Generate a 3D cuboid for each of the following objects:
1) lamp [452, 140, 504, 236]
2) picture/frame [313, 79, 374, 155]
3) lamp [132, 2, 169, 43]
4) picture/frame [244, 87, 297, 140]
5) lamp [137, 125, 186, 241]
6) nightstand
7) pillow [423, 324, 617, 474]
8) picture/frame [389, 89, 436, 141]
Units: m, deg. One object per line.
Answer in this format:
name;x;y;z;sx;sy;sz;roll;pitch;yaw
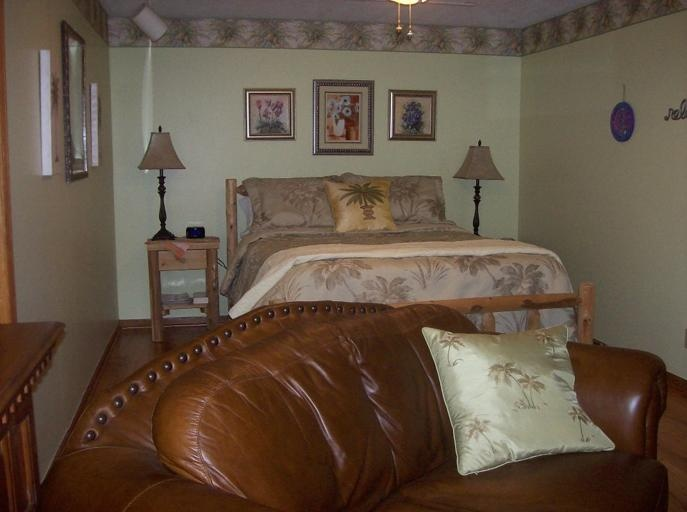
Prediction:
lamp;1.216;-0.600;5.028;0.443;0.844;0.420;5;12;28
picture/frame;-0.033;-1.268;4.896;0.669;0.775;0.058;-1;8;-13
lamp;-1.515;-1.829;4.281;0.167;0.209;0.357;0;9;8
picture/frame;-0.672;-1.264;4.785;0.461;0.460;0.036;1;2;-12
lamp;-1.507;-0.617;4.560;0.364;0.939;0.425;-4;9;-18
nightstand;-1.369;0.249;4.654;0.614;0.776;0.554;-3;11;-23
pillow;0.548;0.473;1.815;0.532;0.493;0.149;-5;-21;-24
picture/frame;0.601;-1.307;4.997;0.472;0.472;0.035;-1;6;-12
